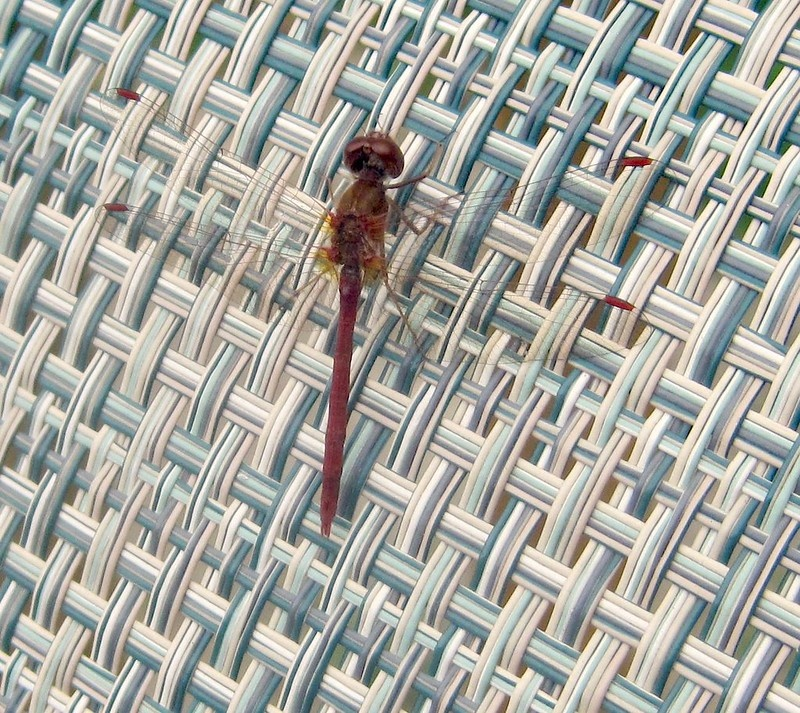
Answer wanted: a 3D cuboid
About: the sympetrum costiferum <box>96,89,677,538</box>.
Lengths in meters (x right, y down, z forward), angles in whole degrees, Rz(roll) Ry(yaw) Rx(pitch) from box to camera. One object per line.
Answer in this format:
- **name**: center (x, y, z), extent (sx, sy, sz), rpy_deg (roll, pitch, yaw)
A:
- **sympetrum costiferum**: center (-0.049, -0.035, 1.776), extent (0.554, 0.127, 0.444), rpy_deg (3, 87, 9)
